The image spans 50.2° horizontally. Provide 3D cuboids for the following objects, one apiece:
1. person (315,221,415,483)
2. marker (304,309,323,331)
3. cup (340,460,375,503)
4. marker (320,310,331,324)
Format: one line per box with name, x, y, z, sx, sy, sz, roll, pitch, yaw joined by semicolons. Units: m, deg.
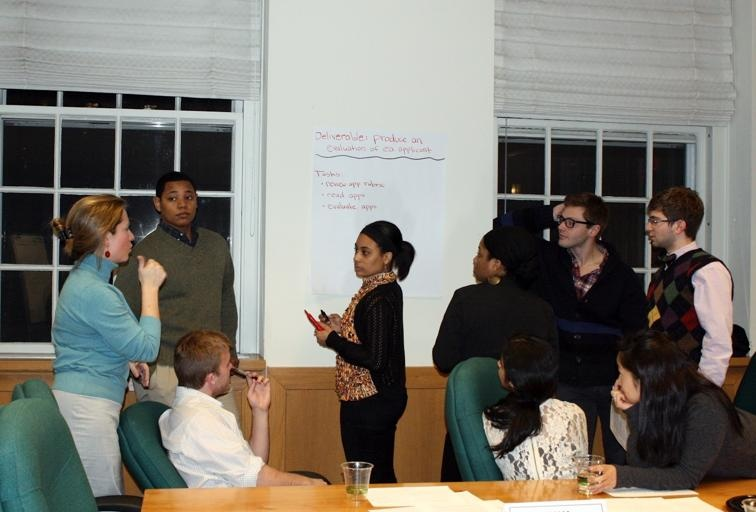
person;-0.069;0.528;4.549;0.461;1.445;0.324;1;2;2
marker;-0.400;0.392;4.978;0.041;0.158;0.042;-44;9;-18
cup;-0.099;0.989;3.566;0.144;0.140;0.150;1;-7;0
marker;-0.316;0.362;4.841;0.042;0.037;0.074;7;-11;4
